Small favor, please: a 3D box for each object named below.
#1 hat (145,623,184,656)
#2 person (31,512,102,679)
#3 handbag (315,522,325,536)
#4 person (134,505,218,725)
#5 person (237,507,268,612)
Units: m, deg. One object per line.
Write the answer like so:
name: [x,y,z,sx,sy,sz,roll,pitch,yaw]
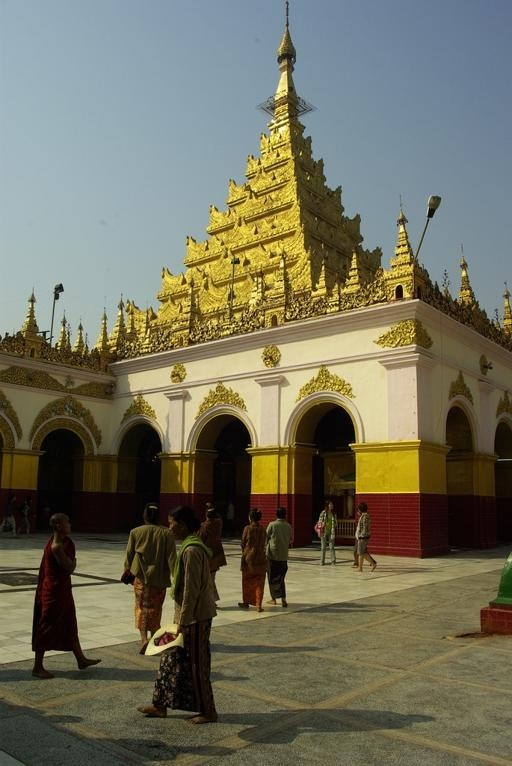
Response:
hat: [-0.523,1.477,3.630,0.204,0.144,0.245,2,-5,-8]
person: [-1.401,1.556,4.673,0.459,1.146,0.548,3,-6,-19]
handbag: [1.302,2.948,12.766,0.135,0.316,0.480,0,-5,8]
person: [-0.452,1.428,3.870,0.437,1.119,0.662,1,-5,-5]
person: [-0.029,2.190,7.844,0.331,1.220,0.676,1,-5,0]
